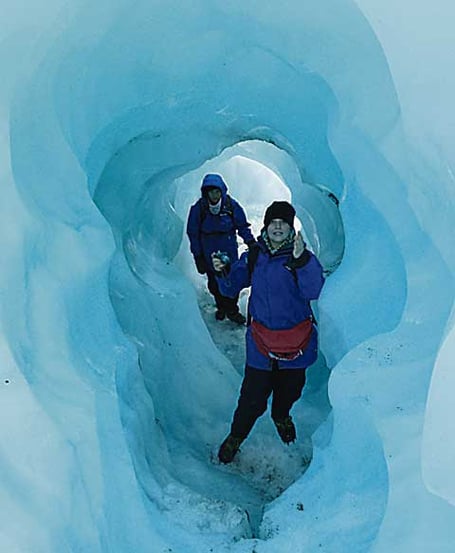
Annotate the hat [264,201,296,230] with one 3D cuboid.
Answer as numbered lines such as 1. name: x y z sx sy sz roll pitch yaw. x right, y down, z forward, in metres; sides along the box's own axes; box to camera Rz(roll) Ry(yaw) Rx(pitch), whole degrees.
1. hat: 0.271 -0.307 3.394 0.122 0.119 0.159 2 -10 4

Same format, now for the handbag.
1. handbag: 0.272 0.383 3.404 0.244 0.227 0.099 1 -32 -2

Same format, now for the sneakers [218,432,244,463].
1. sneakers: 0.015 0.983 3.755 0.125 0.188 0.077 32 21 15

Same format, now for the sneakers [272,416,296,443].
1. sneakers: 0.323 0.887 3.731 0.111 0.176 0.066 -18 11 -4

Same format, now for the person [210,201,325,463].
1. person: 0.234 0.351 3.519 0.630 1.486 0.335 3 11 34

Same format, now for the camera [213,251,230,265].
1. camera: -0.027 -0.096 3.528 0.094 0.083 0.058 -15 30 5
